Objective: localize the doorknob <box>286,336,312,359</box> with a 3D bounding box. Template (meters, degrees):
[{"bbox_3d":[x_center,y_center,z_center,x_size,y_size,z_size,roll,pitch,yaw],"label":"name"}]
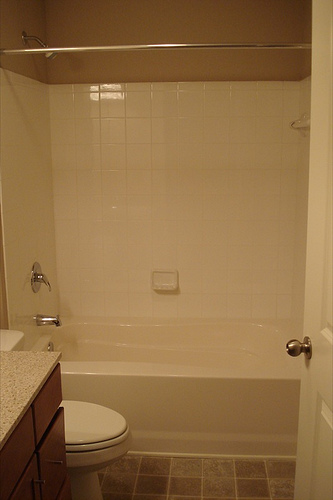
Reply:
[{"bbox_3d":[0.384,0.281,1.200,0.058,0.062,0.058,0,1,-13],"label":"doorknob"}]
